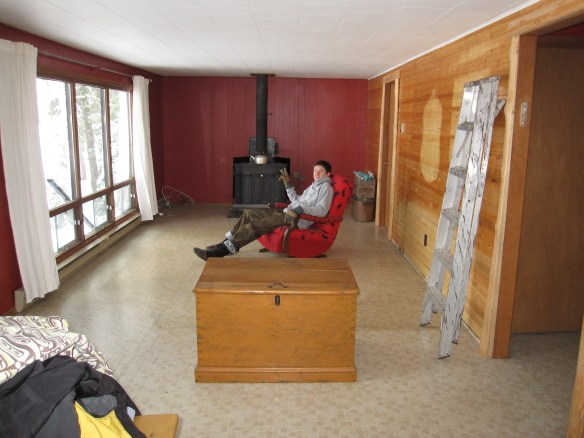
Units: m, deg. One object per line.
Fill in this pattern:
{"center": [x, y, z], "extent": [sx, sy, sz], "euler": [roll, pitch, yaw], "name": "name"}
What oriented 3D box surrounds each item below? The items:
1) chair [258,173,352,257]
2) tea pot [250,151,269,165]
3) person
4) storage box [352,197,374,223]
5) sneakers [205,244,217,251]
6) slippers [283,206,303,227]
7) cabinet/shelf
{"center": [0.258, 0.042, 5.301], "extent": [1.028, 0.924, 0.755], "euler": [-2, 4, -7], "name": "chair"}
{"center": [-0.605, -1.115, 7.690], "extent": [0.295, 0.276, 0.269], "euler": [1, 25, -1], "name": "tea pot"}
{"center": [-0.356, -0.122, 5.118], "extent": [1.814, 1.111, 0.910], "euler": [-6, 11, -17], "name": "person"}
{"center": [1.258, -0.161, 7.149], "extent": [0.338, 0.455, 0.616], "euler": [1, 14, 0], "name": "storage box"}
{"center": [-0.978, 0.340, 4.852], "extent": [0.126, 0.049, 0.070], "euler": [-11, 18, -28], "name": "sneakers"}
{"center": [-0.019, -0.019, 4.909], "extent": [0.238, 0.216, 0.180], "euler": [8, 2, -33], "name": "slippers"}
{"center": [-0.128, 0.539, 3.085], "extent": [1.075, 0.669, 0.800], "euler": [0, 10, -1], "name": "cabinet/shelf"}
